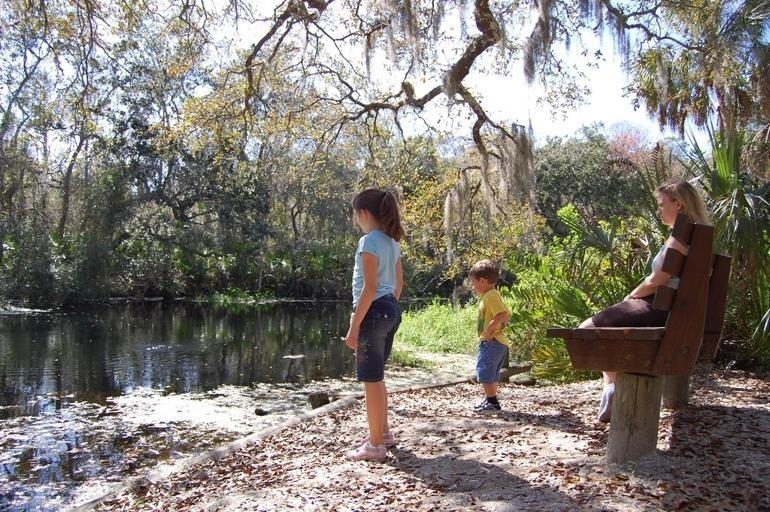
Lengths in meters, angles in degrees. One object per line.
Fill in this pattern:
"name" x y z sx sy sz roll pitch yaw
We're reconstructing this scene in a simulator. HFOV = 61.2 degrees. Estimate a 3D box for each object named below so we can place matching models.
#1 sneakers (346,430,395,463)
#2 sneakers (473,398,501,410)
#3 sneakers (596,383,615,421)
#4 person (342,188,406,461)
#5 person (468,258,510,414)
"sneakers" -0.127 1.997 6.724 0.516 0.257 0.200 -1 -6 9
"sneakers" 1.220 1.748 7.748 0.342 0.171 0.136 -1 -3 5
"sneakers" 2.359 1.571 6.959 0.139 0.486 0.188 1 10 -6
"person" -0.110 0.673 6.682 0.484 2.722 0.838 -1 10 30
"person" 1.277 0.951 7.881 0.454 1.850 0.782 -4 9 11
